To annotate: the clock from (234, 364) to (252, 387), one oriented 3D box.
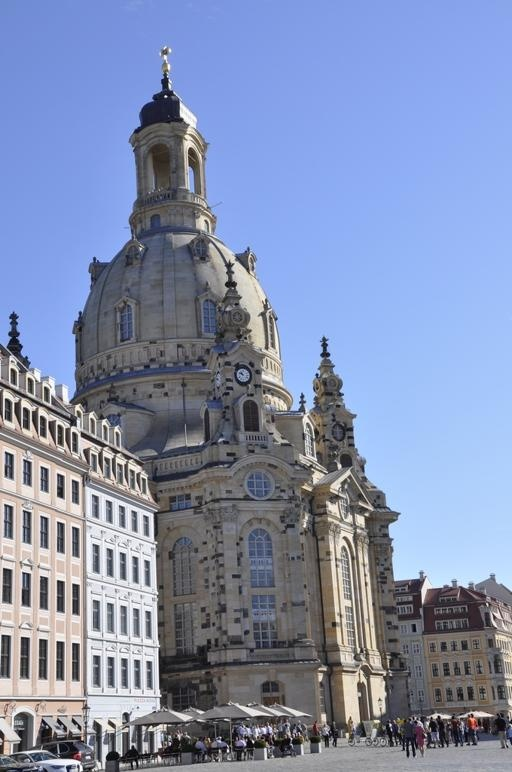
[{"bbox_3d":[-1.338,-0.877,97.646,1.805,1.921,0.143,19,-34,-33],"label":"clock"}]
